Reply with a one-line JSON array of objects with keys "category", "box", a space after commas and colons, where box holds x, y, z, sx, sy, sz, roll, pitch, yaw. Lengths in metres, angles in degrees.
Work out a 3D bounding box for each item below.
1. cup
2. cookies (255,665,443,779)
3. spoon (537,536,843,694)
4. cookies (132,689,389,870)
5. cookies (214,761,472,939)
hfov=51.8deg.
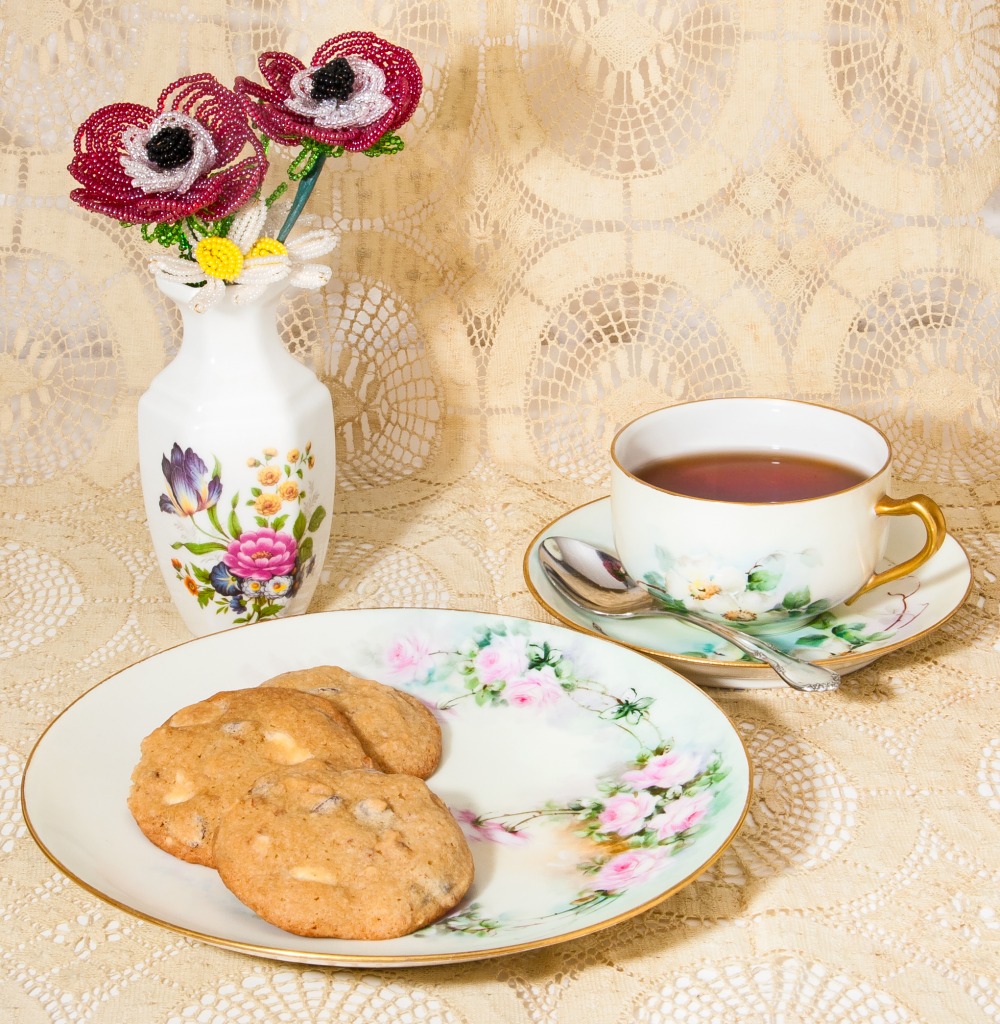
[{"category": "cup", "box": [0.163, 0.016, 0.633, 0.195, 0.086, 0.151, 15, 26, 30]}, {"category": "cookies", "box": [-0.077, 0.100, 0.539, 0.066, 0.020, 0.061, 33, 15, 23]}, {"category": "spoon", "box": [0.091, 0.046, 0.663, 0.065, 0.034, 0.263, 0, 20, -43]}, {"category": "cookies", "box": [-0.132, 0.123, 0.491, 0.112, 0.031, 0.106, 36, 20, 31]}, {"category": "cookies", "box": [-0.064, 0.139, 0.424, 0.104, 0.032, 0.082, 1, 20, -14]}]
